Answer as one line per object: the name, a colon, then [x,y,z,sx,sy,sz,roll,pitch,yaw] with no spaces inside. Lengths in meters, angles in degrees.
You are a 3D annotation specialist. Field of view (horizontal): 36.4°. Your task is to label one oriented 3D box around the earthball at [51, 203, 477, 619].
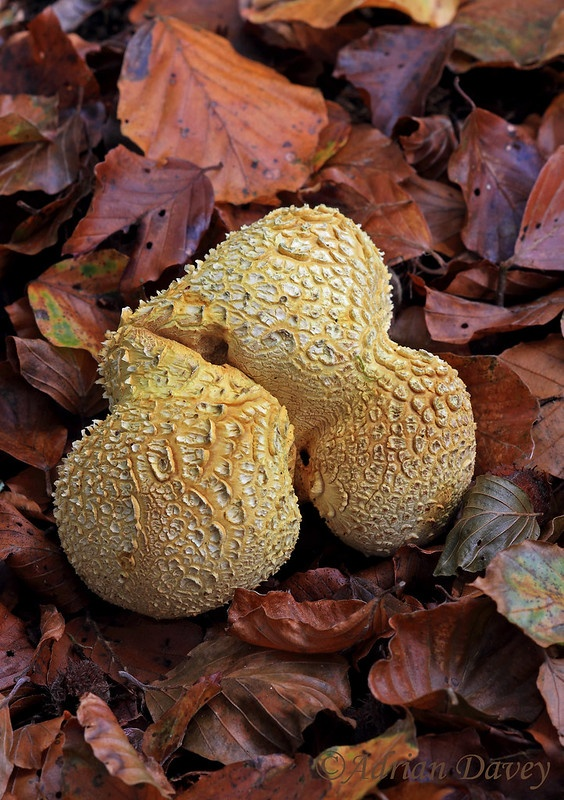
earthball: [-0.069,0.044,1.534,0.773,0.501,0.599,-25,57,-16]
